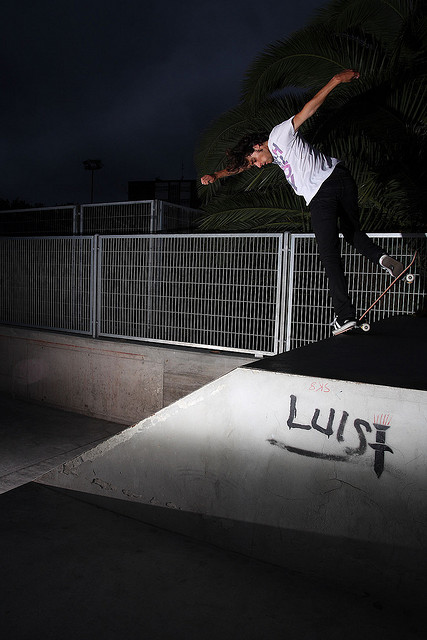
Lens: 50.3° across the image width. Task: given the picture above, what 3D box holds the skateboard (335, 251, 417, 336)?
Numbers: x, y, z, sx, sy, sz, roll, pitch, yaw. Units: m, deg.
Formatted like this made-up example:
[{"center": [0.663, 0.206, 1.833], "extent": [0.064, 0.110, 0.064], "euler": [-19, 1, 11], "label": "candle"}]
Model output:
[{"center": [1.706, -0.273, 4.692], "extent": [0.146, 1.029, 0.148], "euler": [37, -4, 18], "label": "skateboard"}]

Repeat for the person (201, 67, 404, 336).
[{"center": [1.029, -0.930, 3.968], "extent": [0.980, 2.096, 0.837], "euler": [2, -5, -13], "label": "person"}]
